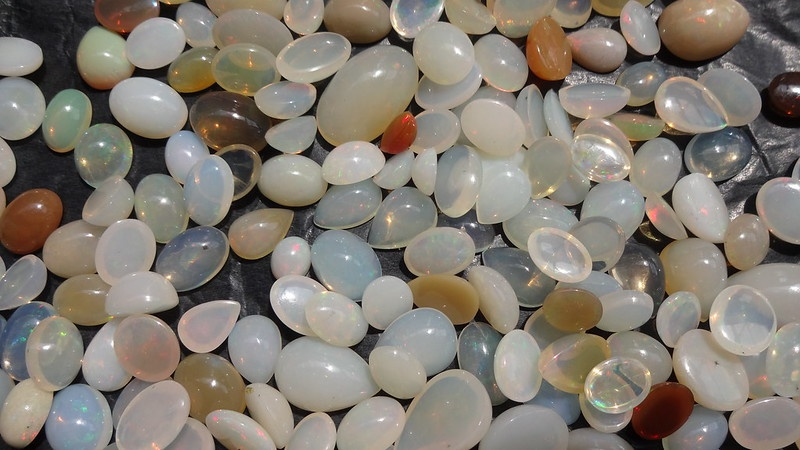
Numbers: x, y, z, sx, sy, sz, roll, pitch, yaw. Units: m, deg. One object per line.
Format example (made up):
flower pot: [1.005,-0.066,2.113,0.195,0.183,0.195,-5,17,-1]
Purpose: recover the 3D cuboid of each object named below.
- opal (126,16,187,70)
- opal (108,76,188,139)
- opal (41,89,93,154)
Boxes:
opal: [-0.694,-0.514,1.948,0.172,0.067,0.128,-23,79,-7]
opal: [-0.708,-0.330,1.929,0.212,0.069,0.153,20,77,2]
opal: [-0.967,-0.285,1.962,0.101,0.136,0.188,50,43,1]
